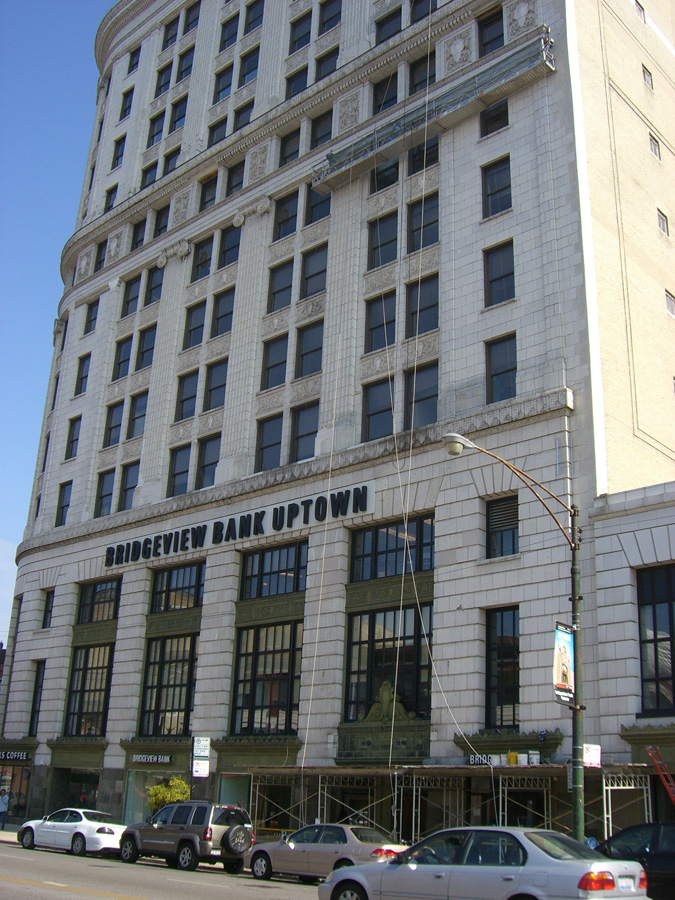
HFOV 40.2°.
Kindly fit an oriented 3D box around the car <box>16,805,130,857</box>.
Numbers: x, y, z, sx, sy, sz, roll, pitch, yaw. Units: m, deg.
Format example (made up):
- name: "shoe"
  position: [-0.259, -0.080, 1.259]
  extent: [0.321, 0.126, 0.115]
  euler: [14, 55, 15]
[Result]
- name: "car"
  position: [-7.560, 11.141, 26.859]
  extent: [4.735, 1.186, 0.885]
  euler: [-19, -29, 41]
